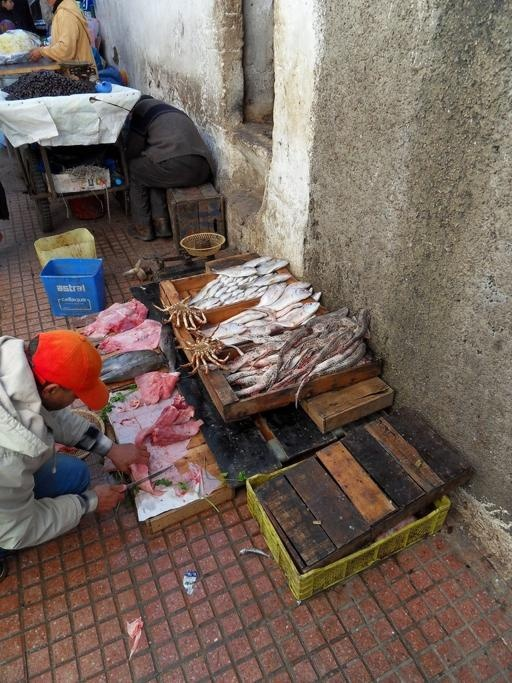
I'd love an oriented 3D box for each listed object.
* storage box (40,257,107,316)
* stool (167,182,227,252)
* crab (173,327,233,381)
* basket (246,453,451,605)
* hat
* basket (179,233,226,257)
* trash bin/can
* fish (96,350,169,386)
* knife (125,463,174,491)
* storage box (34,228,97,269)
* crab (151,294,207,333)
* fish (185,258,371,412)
[{"bbox_3d":[-1.906,-0.548,5.070,0.603,0.490,0.420,3,39,-6],"label":"storage box"},{"bbox_3d":[-0.790,-1.664,6.297,0.772,0.792,0.659,-12,35,-27],"label":"stool"},{"bbox_3d":[-0.433,0.051,3.797,0.469,0.302,0.410,-16,34,-31],"label":"crab"},{"bbox_3d":[0.560,1.040,3.040,1.061,0.438,0.742,-15,30,-19],"label":"basket"},{"bbox_3d":[-0.947,0.130,2.599,0.257,0.470,0.314,-50,35,0],"label":"hat"},{"bbox_3d":[-0.645,-1.181,5.866,0.409,0.130,0.391,16,46,16],"label":"basket"},{"bbox_3d":[-1.940,-0.687,5.389,0.799,0.696,1.099,-14,43,-19],"label":"trash bin/can"},{"bbox_3d":[-1.086,0.201,4.219,0.526,0.142,0.251,-12,45,-18],"label":"fish"},{"bbox_3d":[-0.733,0.925,3.304,0.377,0.039,0.053,-20,57,-17],"label":"knife"},{"bbox_3d":[-2.125,-1.021,5.417,0.682,0.465,0.379,-16,48,-17],"label":"storage box"},{"bbox_3d":[-0.601,-0.216,4.180,0.313,0.116,0.412,-9,29,-27],"label":"crab"},{"bbox_3d":[0.141,0.022,3.911,1.082,0.268,1.146,-22,42,-11],"label":"fish"}]
